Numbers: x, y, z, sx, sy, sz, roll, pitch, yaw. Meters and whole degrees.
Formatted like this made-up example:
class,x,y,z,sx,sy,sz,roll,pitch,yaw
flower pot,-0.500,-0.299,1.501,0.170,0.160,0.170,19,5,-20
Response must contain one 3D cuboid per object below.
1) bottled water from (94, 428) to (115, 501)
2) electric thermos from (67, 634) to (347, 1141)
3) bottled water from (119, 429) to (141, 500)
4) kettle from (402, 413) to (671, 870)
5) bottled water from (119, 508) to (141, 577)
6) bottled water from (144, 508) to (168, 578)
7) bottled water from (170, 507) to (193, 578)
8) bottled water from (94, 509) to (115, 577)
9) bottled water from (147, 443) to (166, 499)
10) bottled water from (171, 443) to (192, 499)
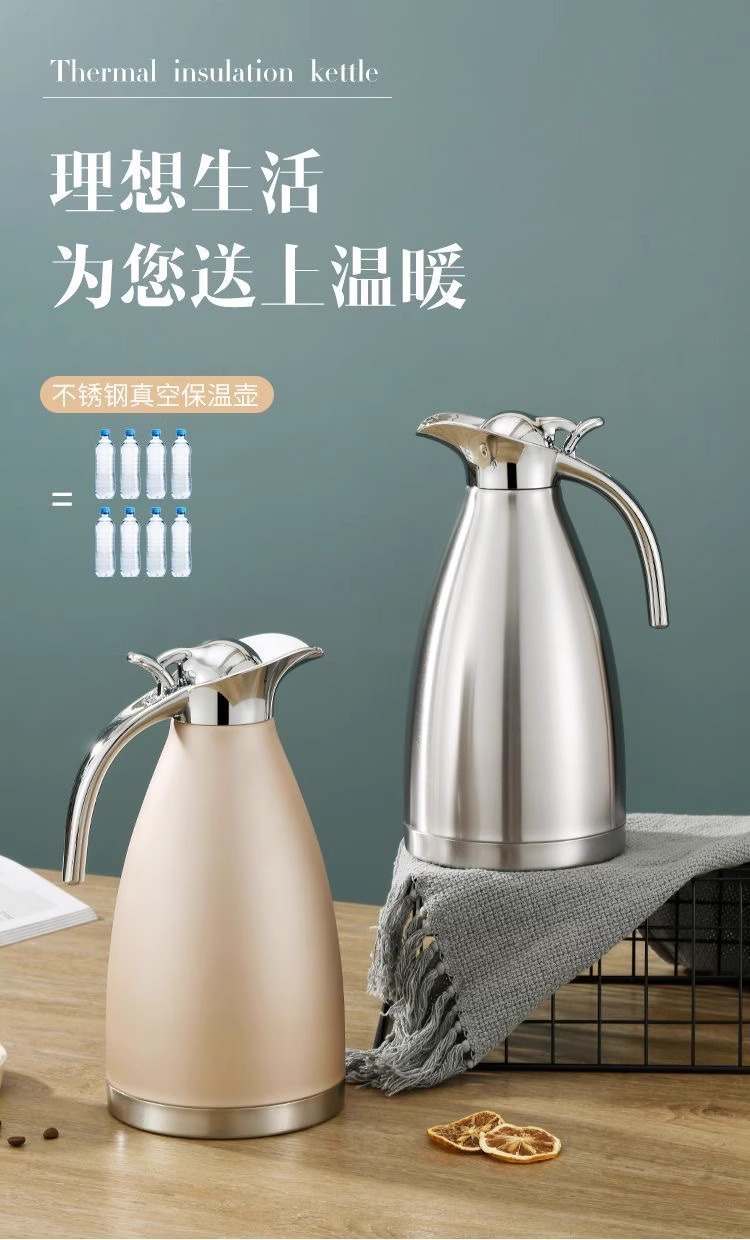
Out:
class,x,y,z,sx,sy,sz,roll,pitch,yaw
bottled water,-0.561,-0.322,2.639,0.046,0.145,0.008,2,5,11
electric thermos,-0.062,0.105,0.491,0.102,0.193,0.074,0,5,-3
bottled water,-0.505,-0.320,2.621,0.043,0.140,0.019,1,5,-1
kettle,0.077,0.009,0.602,0.120,0.210,0.090,0,4,-7
bottled water,-0.511,-0.159,2.637,0.047,0.143,0.019,1,5,8
bottled water,-0.457,-0.159,2.612,0.052,0.144,0.028,4,5,32
bottled water,-0.395,-0.157,2.592,0.042,0.146,0.018,1,5,3
bottled water,-0.563,-0.159,2.648,0.041,0.146,0.017,0,5,-6
bottled water,-0.446,-0.310,2.589,0.042,0.126,0.019,1,5,7
bottled water,-0.393,-0.307,2.573,0.038,0.127,0.015,0,5,-4
